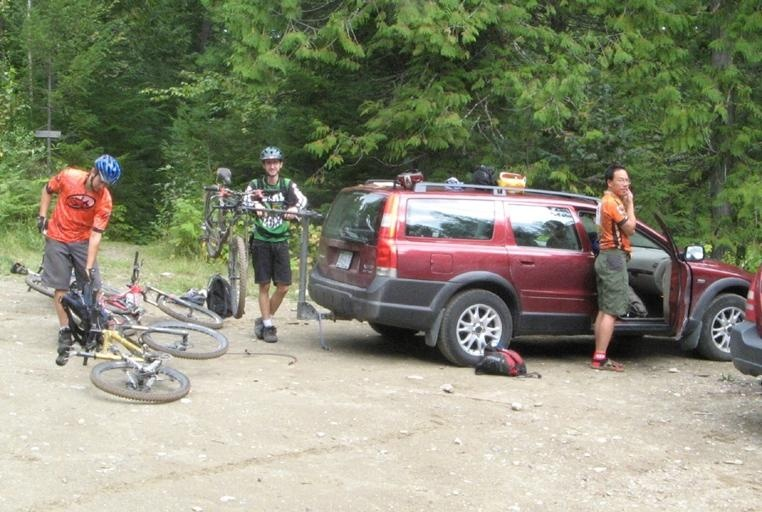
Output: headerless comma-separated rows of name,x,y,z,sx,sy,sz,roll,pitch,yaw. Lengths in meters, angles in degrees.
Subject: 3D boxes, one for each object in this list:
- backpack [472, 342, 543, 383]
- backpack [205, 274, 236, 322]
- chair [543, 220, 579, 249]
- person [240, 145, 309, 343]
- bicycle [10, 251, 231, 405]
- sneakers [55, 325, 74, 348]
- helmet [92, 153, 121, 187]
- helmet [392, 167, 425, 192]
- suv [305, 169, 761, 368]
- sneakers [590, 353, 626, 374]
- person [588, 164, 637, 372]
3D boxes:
backpack,1.504,1.306,8.412,0.663,0.250,0.397,0,-3,23
backpack,-2.411,0.659,10.458,0.467,0.743,0.670,2,-13,-29
chair,2.330,-0.258,9.043,0.504,0.224,0.303,18,-15,-43
person,-1.490,-0.137,9.581,0.792,2.673,0.691,2,8,-11
bicycle,-2.635,0.819,7.199,1.627,0.574,1.515,19,13,18
sneakers,-3.158,0.818,6.954,0.138,0.208,0.215,0,8,-24
helmet,-2.915,-0.920,7.384,0.284,0.201,0.404,13,23,-46
helmet,0.389,-1.012,9.223,0.436,0.211,0.509,-4,7,36
suv,2.060,0.110,9.090,4.752,1.561,2.891,-3,8,-23
sneakers,2.884,1.378,8.855,0.397,0.135,0.205,5,4,5
person,2.972,0.169,8.905,0.541,2.608,0.595,6,8,16
